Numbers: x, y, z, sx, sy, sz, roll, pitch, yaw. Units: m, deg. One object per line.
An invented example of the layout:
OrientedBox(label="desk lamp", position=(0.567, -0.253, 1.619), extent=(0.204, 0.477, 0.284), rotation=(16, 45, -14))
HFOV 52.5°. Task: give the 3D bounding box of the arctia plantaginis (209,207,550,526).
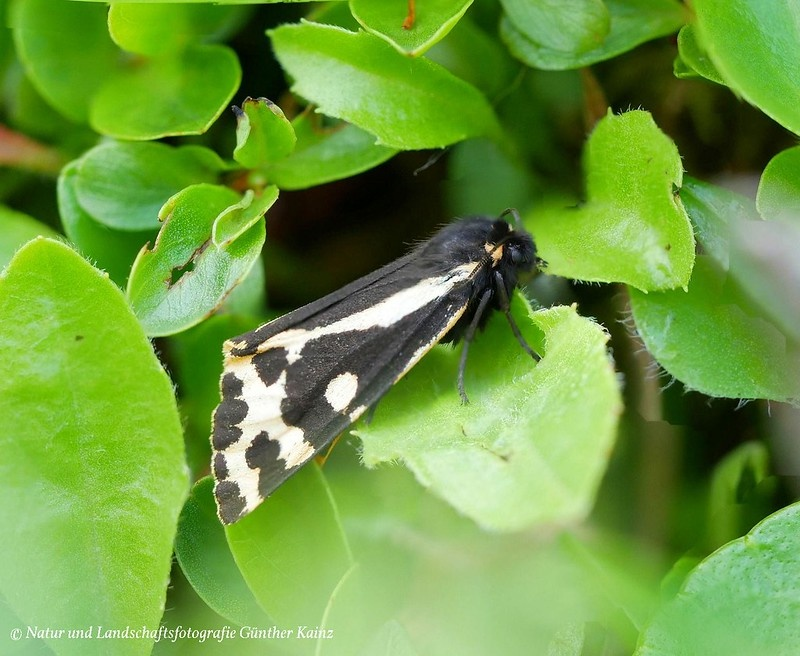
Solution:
OrientedBox(label="arctia plantaginis", position=(-0.034, 0.113, 1.414), extent=(0.519, 0.222, 0.399), rotation=(-21, 45, -9))
